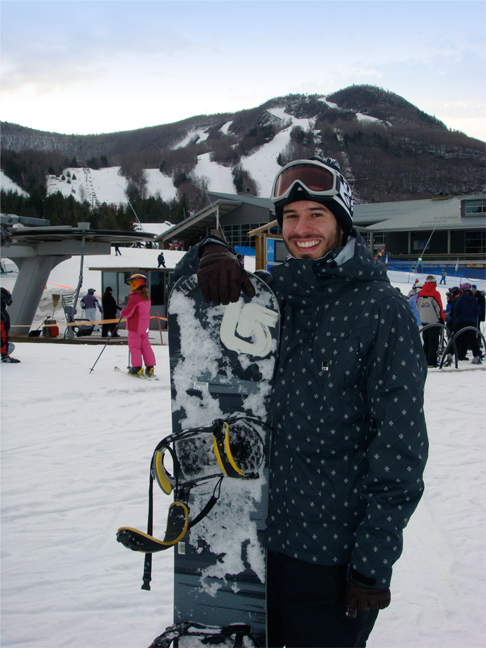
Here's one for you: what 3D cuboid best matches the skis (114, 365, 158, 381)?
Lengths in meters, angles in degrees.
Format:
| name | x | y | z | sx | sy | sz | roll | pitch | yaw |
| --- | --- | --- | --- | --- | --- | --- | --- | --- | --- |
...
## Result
| name | x | y | z | sx | sy | sz | roll | pitch | yaw |
| --- | --- | --- | --- | --- | --- | --- | --- | --- | --- |
| skis | -1.393 | 0.624 | 10.604 | 0.540 | 0.205 | 0.163 | 11 | 21 | 26 |

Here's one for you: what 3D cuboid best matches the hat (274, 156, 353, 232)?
| name | x | y | z | sx | sy | sz | roll | pitch | yaw |
| --- | --- | --- | --- | --- | --- | --- | --- | --- | --- |
| hat | 0.252 | -0.438 | 2.681 | 0.226 | 0.237 | 0.307 | -3 | -9 | 34 |

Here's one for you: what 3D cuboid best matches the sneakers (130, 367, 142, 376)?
| name | x | y | z | sx | sy | sz | roll | pitch | yaw |
| --- | --- | --- | --- | --- | --- | --- | --- | --- | --- |
| sneakers | -1.434 | 0.631 | 10.544 | 0.156 | 0.101 | 0.097 | 3 | 7 | 21 |

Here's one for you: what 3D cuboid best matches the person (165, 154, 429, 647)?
| name | x | y | z | sx | sy | sz | roll | pitch | yaw |
| --- | --- | --- | --- | --- | --- | --- | --- | --- | --- |
| person | 0.301 | 0.230 | 2.421 | 0.384 | 1.554 | 0.604 | 0 | 2 | -24 |

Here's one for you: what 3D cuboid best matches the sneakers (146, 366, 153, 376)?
| name | x | y | z | sx | sy | sz | roll | pitch | yaw |
| --- | --- | --- | --- | --- | --- | --- | --- | --- | --- |
| sneakers | -1.255 | 0.635 | 10.584 | 0.131 | 0.126 | 0.081 | 2 | 5 | 26 |

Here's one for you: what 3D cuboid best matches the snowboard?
| name | x | y | z | sx | sy | sz | roll | pitch | yaw |
| --- | --- | --- | --- | --- | --- | --- | --- | --- | --- |
| snowboard | -0.078 | 0.476 | 2.929 | 0.357 | 1.441 | 0.176 | -5 | -10 | 30 |

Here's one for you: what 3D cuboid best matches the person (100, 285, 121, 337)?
| name | x | y | z | sx | sy | sz | roll | pitch | yaw |
| --- | --- | --- | --- | --- | --- | --- | --- | --- | --- |
| person | -3.217 | -0.495 | 18.813 | 0.358 | 0.969 | 0.309 | -1 | 38 | -8 |

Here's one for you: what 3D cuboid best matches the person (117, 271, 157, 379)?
| name | x | y | z | sx | sy | sz | roll | pitch | yaw |
| --- | --- | --- | --- | --- | --- | --- | --- | --- | --- |
| person | -1.401 | 0.011 | 10.460 | 0.448 | 1.383 | 1.176 | 1 | 2 | -7 |

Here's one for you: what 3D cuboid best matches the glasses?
| name | x | y | z | sx | sy | sz | roll | pitch | yaw |
| --- | --- | --- | --- | --- | --- | --- | --- | --- | --- |
| glasses | 0.234 | -0.443 | 2.694 | 0.218 | 0.133 | 0.289 | -7 | -15 | 20 |
